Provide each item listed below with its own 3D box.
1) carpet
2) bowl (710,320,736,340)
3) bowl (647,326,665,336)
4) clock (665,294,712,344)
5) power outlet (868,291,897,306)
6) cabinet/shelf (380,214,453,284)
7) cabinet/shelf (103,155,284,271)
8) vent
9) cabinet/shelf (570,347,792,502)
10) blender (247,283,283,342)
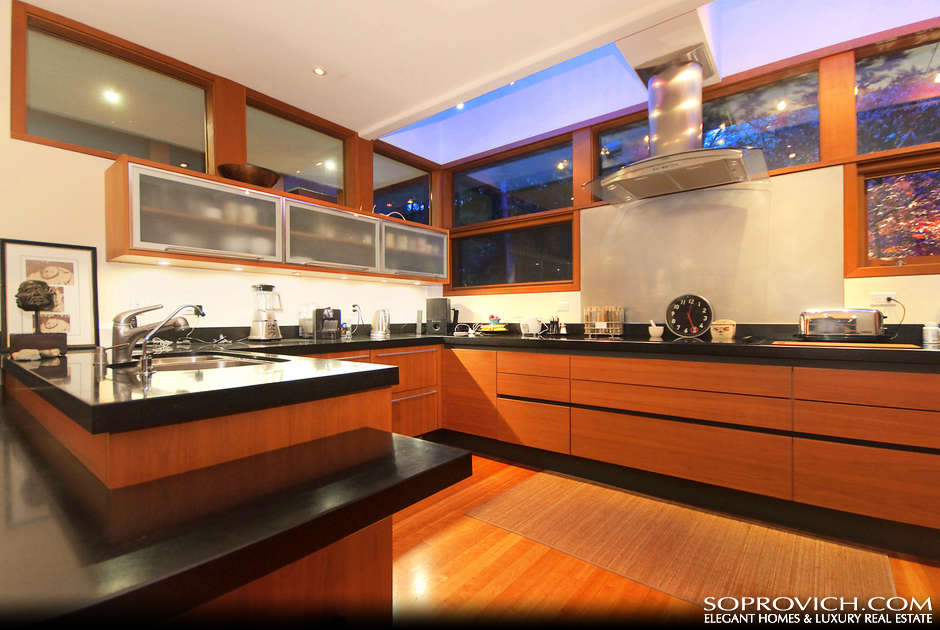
[{"bbox_3d":[1.391,1.521,4.179,2.363,0.620,1.014,-2,-1,31],"label":"carpet"},{"bbox_3d":[1.975,0.116,4.901,0.142,0.102,0.181,3,3,35],"label":"bowl"},{"bbox_3d":[1.556,0.131,5.239,0.110,0.065,0.102,-1,1,0],"label":"bowl"},{"bbox_3d":[1.792,0.034,5.099,0.408,0.395,0.131,-3,-9,41],"label":"clock"},{"bbox_3d":[3.014,-0.123,4.584,0.180,0.110,0.016,-2,-1,24],"label":"power outlet"},{"bbox_3d":[-0.672,-0.623,6.342,0.337,0.568,1.014,-3,-3,38],"label":"cabinet/shelf"},{"bbox_3d":[-2.181,-0.729,4.981,0.487,0.673,1.400,-2,-2,35],"label":"cabinet/shelf"},{"bbox_3d":[1.675,-1.532,5.110,1.276,0.964,0.672,-3,-9,38],"label":"vent"},{"bbox_3d":[1.814,0.523,4.924,1.760,0.917,0.886,-1,-3,33],"label":"cabinet/shelf"},{"bbox_3d":[-1.747,-0.019,5.347,0.261,0.471,0.396,-2,-1,-17],"label":"blender"}]
